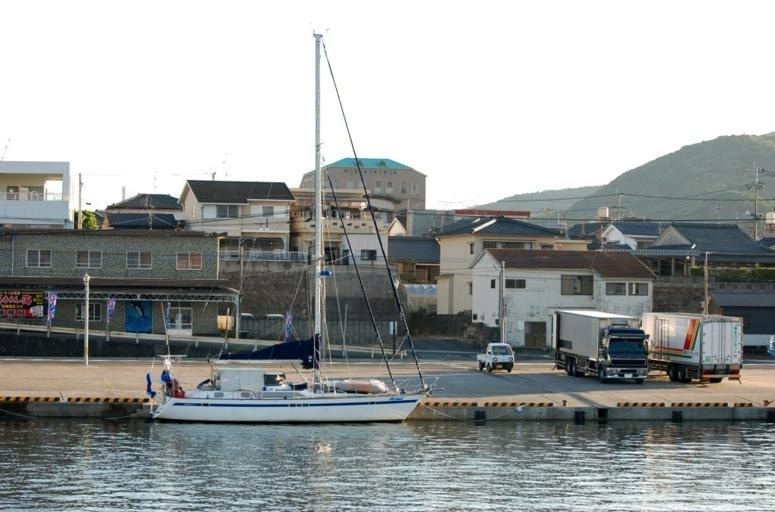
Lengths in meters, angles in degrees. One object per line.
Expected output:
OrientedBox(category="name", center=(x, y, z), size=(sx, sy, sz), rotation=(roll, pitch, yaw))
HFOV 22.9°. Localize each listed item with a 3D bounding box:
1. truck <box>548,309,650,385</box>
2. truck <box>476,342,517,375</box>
OrientedBox(category="truck", center=(17.629, 7.742, 158.044), size=(3.827, 4.003, 9.319), rotation=(0, -1, -19))
OrientedBox(category="truck", center=(8.996, 9.006, 160.554), size=(2.868, 2.576, 2.020), rotation=(-2, -7, 8))
